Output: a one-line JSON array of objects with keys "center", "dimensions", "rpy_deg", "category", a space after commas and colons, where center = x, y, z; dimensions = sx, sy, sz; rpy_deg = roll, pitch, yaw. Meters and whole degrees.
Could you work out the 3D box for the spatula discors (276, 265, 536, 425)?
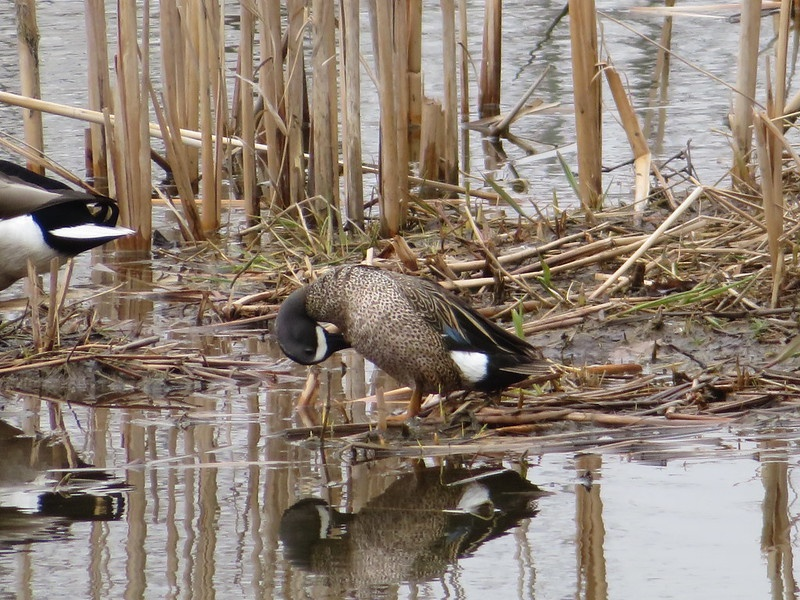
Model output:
[{"center": [0.008, 0.136, 4.887], "dimensions": [1.280, 0.477, 0.475], "rpy_deg": [0, 89, 3], "category": "spatula discors"}]
